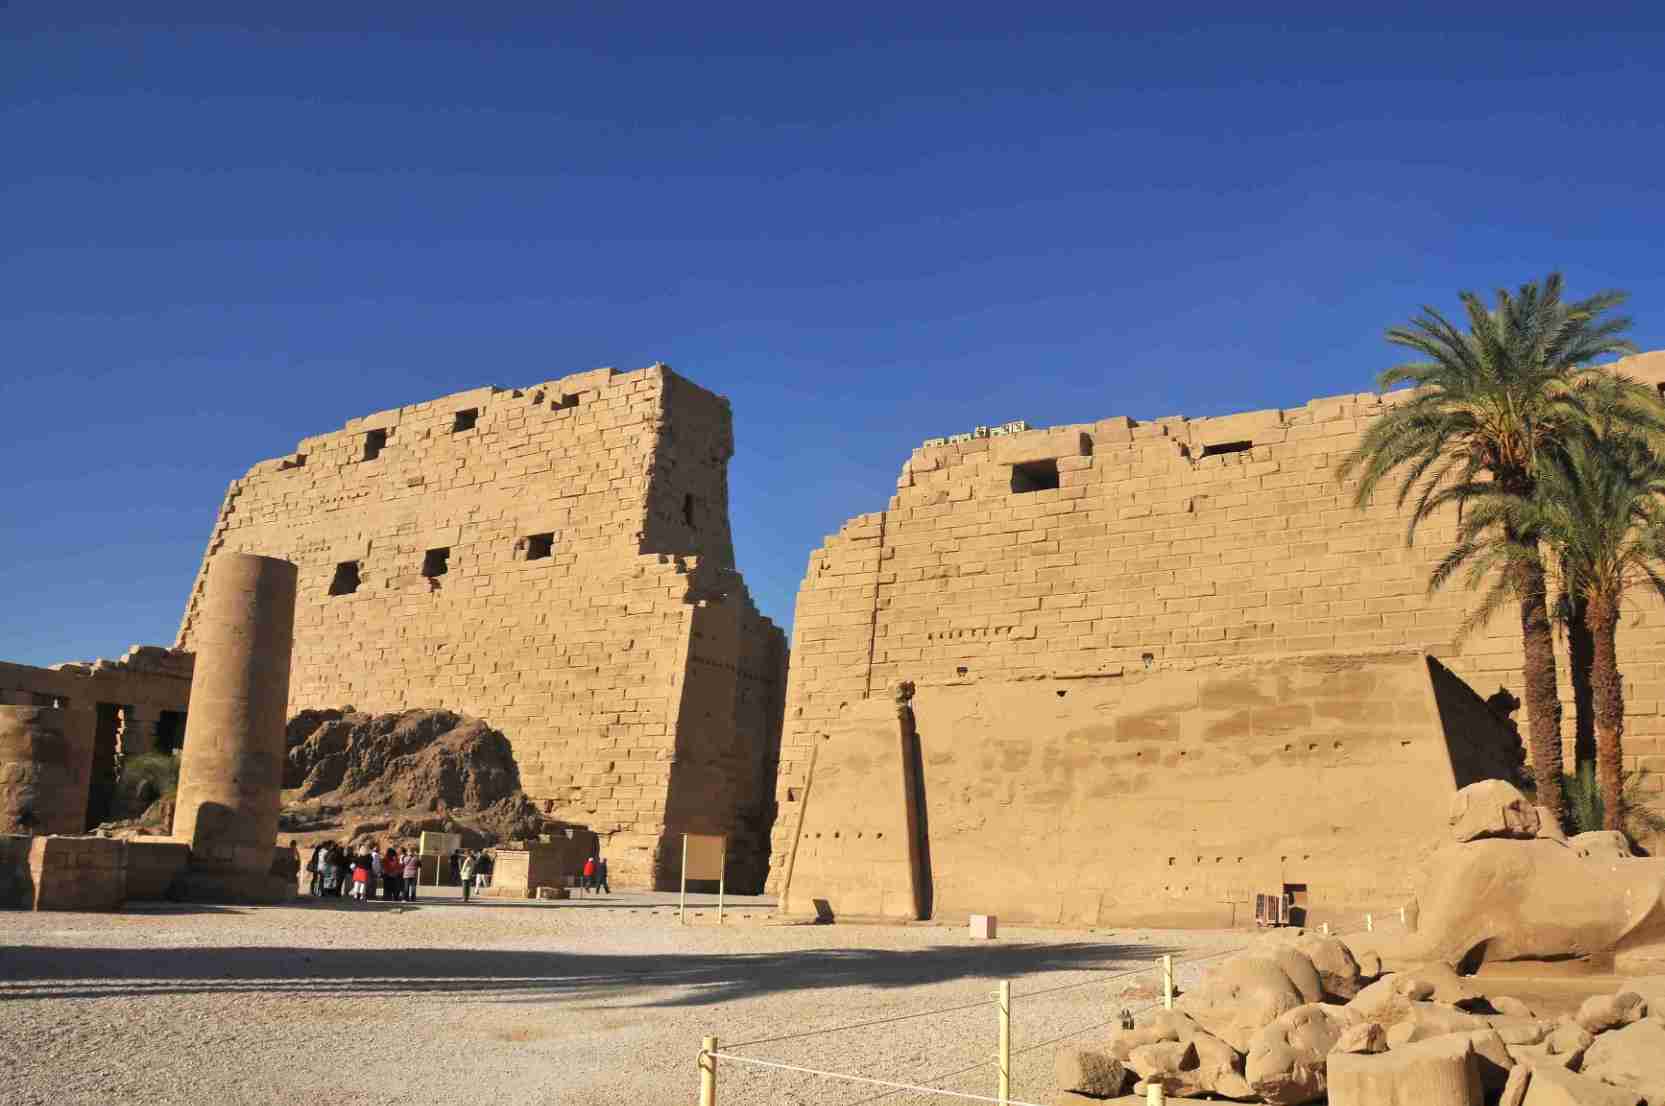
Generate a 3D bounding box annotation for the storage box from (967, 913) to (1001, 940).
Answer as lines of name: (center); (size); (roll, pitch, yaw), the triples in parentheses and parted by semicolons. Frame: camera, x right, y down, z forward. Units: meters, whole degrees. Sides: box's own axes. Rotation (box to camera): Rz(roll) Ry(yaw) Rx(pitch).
storage box: (1.989, 4.901, 21.170); (0.411, 0.336, 0.388); (4, -9, -33)
